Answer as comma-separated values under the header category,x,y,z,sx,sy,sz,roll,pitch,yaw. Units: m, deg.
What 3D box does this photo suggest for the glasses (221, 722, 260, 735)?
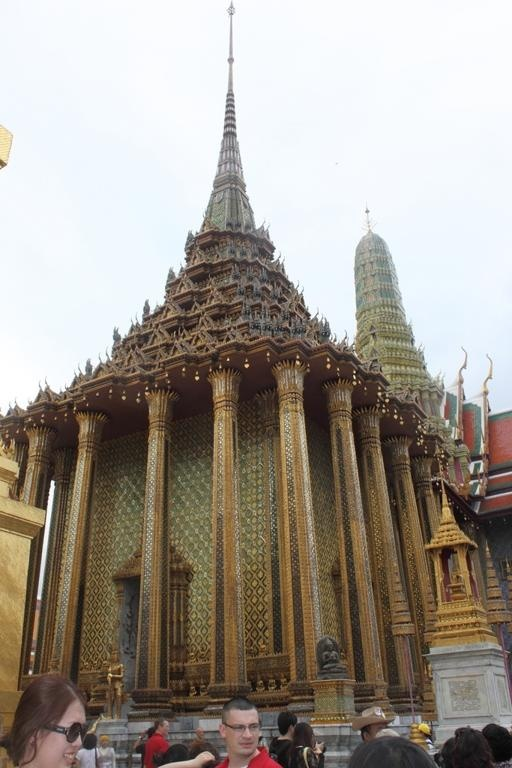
category,x,y,z,sx,sy,sz,roll,pitch,yaw
glasses,-0.051,1.140,2.285,0.108,0.033,0.071,0,-26,-6
